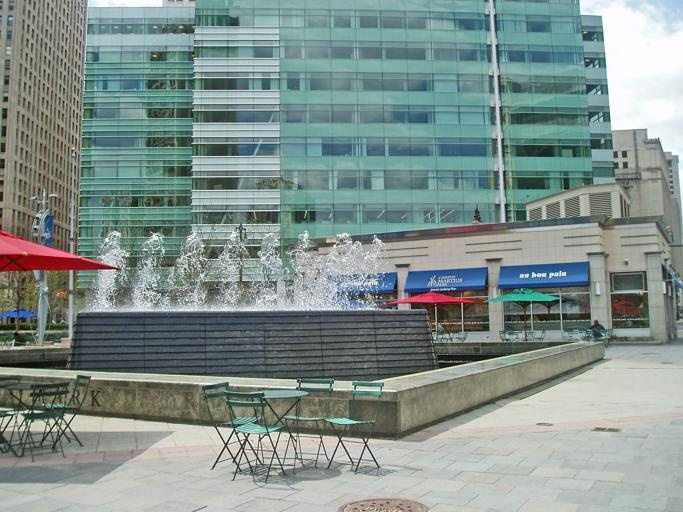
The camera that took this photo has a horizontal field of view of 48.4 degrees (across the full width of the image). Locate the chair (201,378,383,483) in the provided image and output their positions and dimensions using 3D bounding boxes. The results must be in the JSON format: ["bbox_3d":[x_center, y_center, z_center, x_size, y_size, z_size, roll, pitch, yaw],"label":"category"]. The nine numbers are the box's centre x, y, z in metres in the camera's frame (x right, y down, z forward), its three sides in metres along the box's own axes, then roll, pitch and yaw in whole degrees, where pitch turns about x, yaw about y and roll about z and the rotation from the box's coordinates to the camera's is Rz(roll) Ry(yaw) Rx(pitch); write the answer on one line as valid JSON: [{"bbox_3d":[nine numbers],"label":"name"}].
[{"bbox_3d":[-1.036,3.803,16.805,3.006,1.037,2.516,-2,-4,13],"label":"chair"}]
